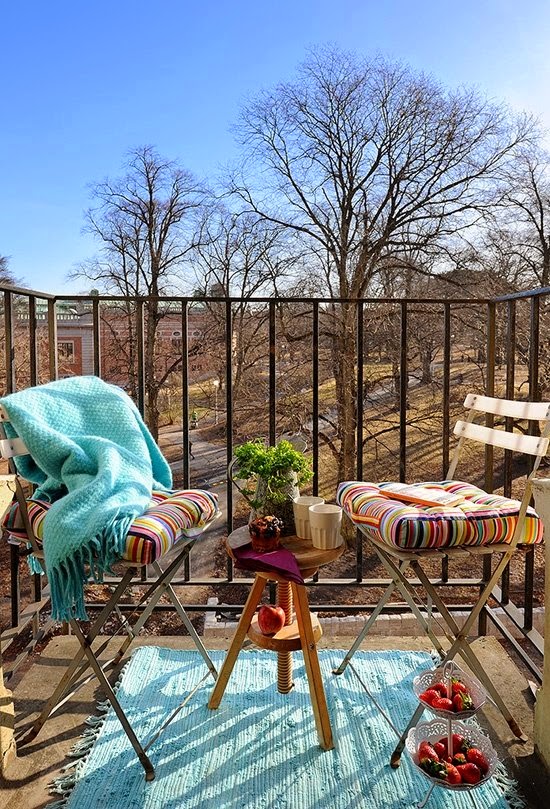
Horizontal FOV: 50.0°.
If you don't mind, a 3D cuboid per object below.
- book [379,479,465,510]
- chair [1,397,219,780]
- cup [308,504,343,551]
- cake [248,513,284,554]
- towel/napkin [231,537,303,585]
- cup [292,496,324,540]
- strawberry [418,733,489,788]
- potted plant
[{"bbox_3d":[0.396,0.240,1.591,0.088,0.023,0.096,2,1,-7],"label":"book"},{"bbox_3d":[-0.427,0.422,1.598,0.556,0.958,0.603,-3,10,-8],"label":"chair"},{"bbox_3d":[0.125,0.306,1.488,0.093,0.105,0.109,0,-1,3],"label":"cup"},{"bbox_3d":[-0.023,0.326,1.533,0.079,0.078,0.079,5,8,28],"label":"cake"},{"bbox_3d":[-0.016,0.382,1.435,0.198,0.042,0.102,4,11,29],"label":"towel/napkin"},{"bbox_3d":[0.074,0.298,1.585,0.105,0.119,0.105,0,-5,0],"label":"cup"},{"bbox_3d":[0.365,0.721,1.213,0.109,0.049,0.080,4,3,-11],"label":"strawberry"},{"bbox_3d":[-0.030,0.200,1.710,0.213,0.261,0.202,-1,9,-44],"label":"potted plant"}]
